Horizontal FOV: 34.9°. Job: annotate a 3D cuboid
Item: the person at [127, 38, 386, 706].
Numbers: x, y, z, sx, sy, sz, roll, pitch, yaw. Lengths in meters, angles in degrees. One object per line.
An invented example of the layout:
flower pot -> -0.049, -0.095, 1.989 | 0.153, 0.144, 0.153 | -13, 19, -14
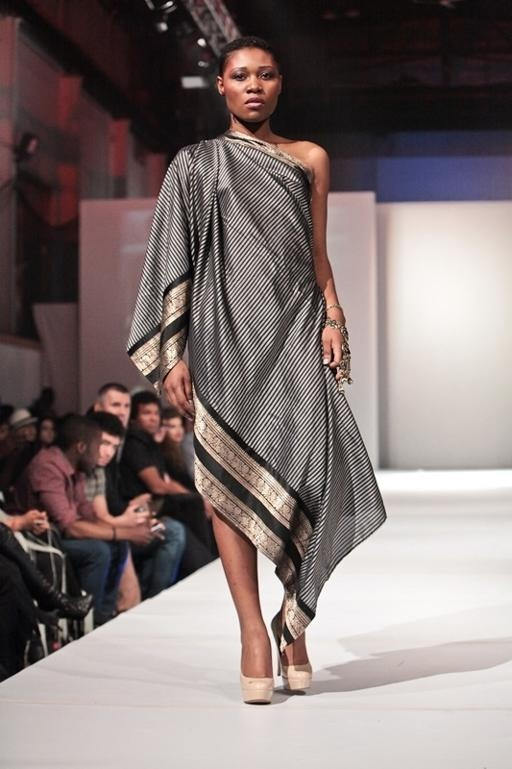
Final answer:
person -> 0.020, -0.059, 1.524 | 0.422, 1.125, 0.307 | 8, 2, 33

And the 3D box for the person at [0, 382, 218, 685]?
person -> -0.421, 0.372, 2.380 | 0.584, 0.664, 0.495 | -2, -4, 15
